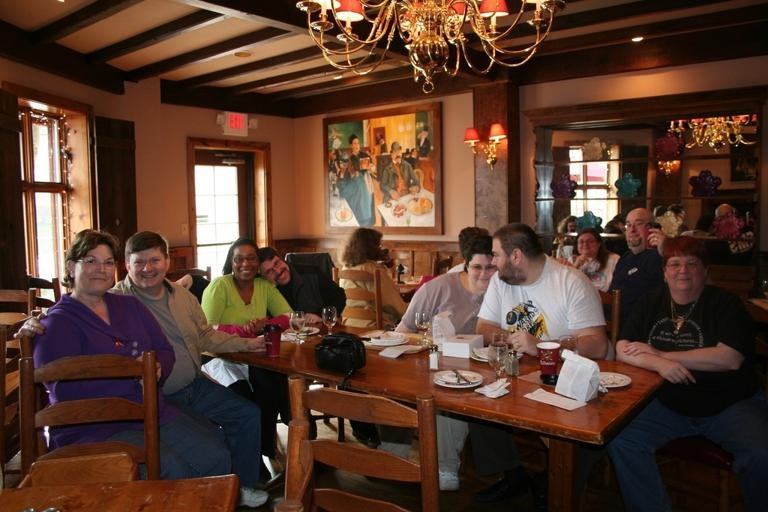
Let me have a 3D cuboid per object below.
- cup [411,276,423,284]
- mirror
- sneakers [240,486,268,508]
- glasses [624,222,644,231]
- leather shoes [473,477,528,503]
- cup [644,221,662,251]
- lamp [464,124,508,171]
[{"bbox_3d":[0.357,0.262,6.459,0.065,0.055,0.177,11,11,18],"label":"cup"},{"bbox_3d":[2.718,-0.689,5.704,2.539,1.654,0.386,-3,-4,32],"label":"mirror"},{"bbox_3d":[-0.843,1.550,3.641,0.215,0.081,0.132,4,3,-7],"label":"sneakers"},{"bbox_3d":[2.214,-0.272,5.047,0.093,0.052,0.117,-12,-29,35],"label":"glasses"},{"bbox_3d":[0.770,1.534,3.790,0.405,0.162,0.132,0,4,-8],"label":"leather shoes"},{"bbox_3d":[2.245,-0.166,4.787,0.093,0.264,0.200,2,25,14],"label":"cup"},{"bbox_3d":[1.300,-1.406,7.211,0.689,0.572,0.316,-4,-9,41],"label":"lamp"}]
